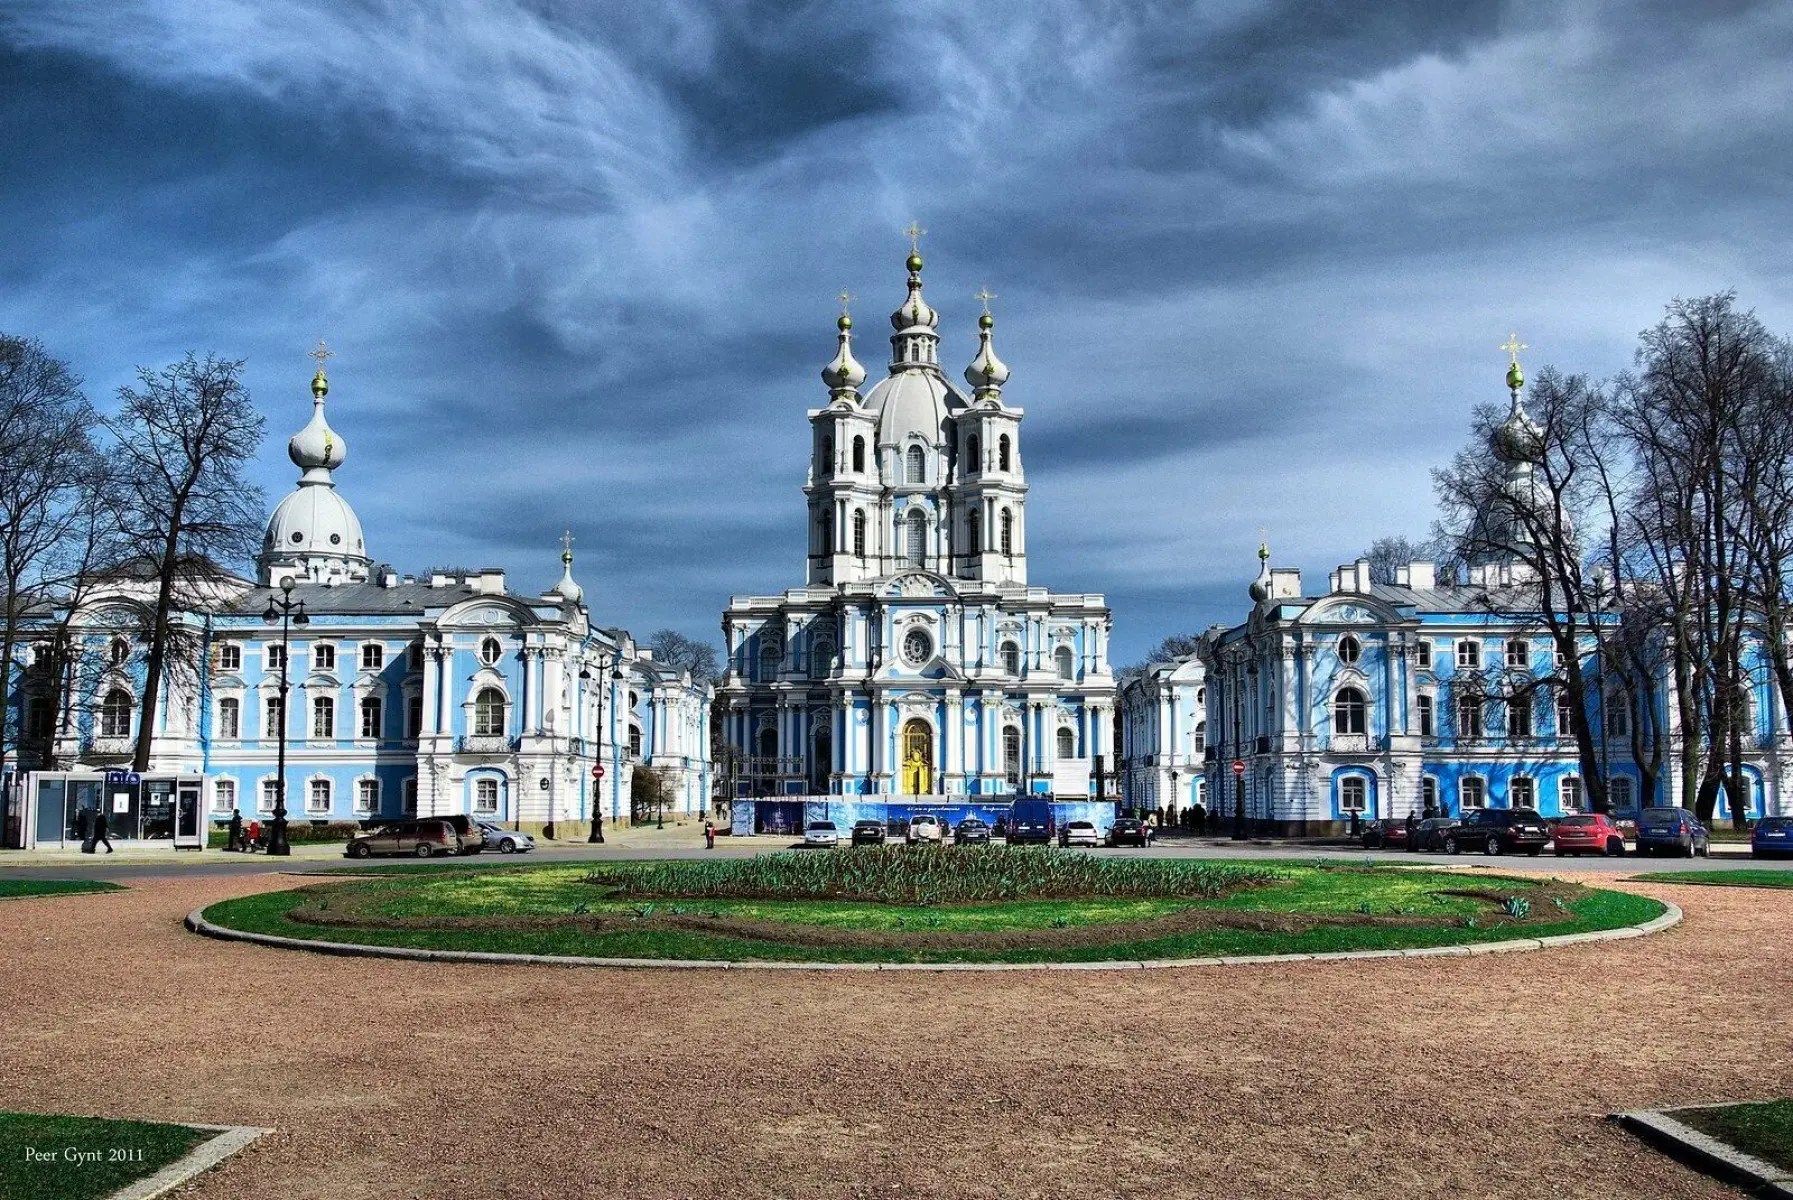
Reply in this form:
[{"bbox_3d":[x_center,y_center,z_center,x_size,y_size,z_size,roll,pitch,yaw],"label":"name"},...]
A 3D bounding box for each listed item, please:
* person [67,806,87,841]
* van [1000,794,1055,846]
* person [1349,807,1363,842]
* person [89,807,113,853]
[{"bbox_3d":[-27.676,7.588,69.951,0.898,1.157,0.536,6,10,38],"label":"person"},{"bbox_3d":[5.768,9.225,87.507,1.664,1.286,2.393,0,-12,1],"label":"van"},{"bbox_3d":[19.302,9.405,86.712,0.322,1.023,0.640,0,0,-10],"label":"person"},{"bbox_3d":[-26.910,7.774,69.473,0.786,1.270,2.373,-4,7,-21],"label":"person"}]
